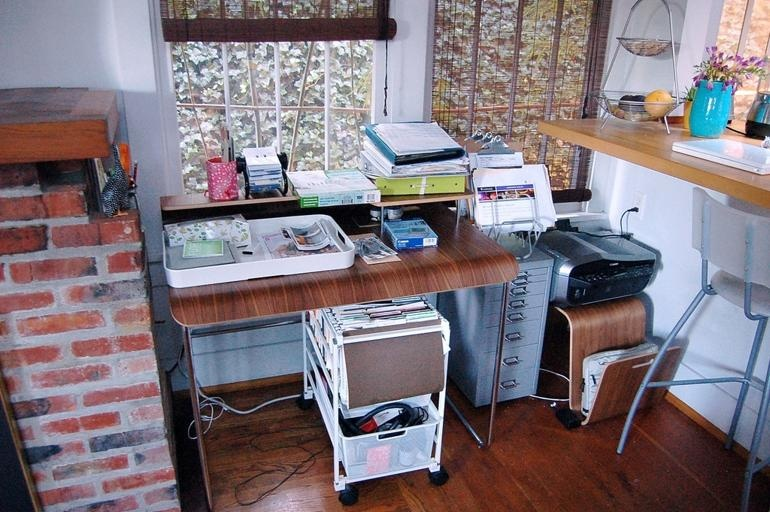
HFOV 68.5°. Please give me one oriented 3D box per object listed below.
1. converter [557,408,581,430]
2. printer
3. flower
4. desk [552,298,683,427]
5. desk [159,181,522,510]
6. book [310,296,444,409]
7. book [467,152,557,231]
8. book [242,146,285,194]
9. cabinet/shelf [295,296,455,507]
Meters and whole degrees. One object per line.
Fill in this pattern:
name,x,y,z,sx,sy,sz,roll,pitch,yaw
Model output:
converter,1.032,0.907,3.207,0.110,0.068,0.144,-15,35,-13
printer,1.206,0.050,3.249,0.534,0.226,0.518,-10,25,-18
flower,1.638,-0.908,2.724,0.288,0.198,0.236,1,22,17
desk,1.325,0.610,3.189,0.620,0.553,0.330,-12,22,-27
desk,-0.358,0.685,3.603,2.404,1.532,1.376,-8,34,-15
book,-0.039,0.397,2.670,0.536,0.383,0.522,-9,32,-17
book,0.670,-0.312,2.988,0.392,0.377,0.093,-2,-6,-12
book,-0.584,-0.420,2.737,0.194,0.160,0.244,-9,21,-16
cabinet/shelf,-0.049,0.726,2.724,0.758,0.934,0.720,-8,28,-17
